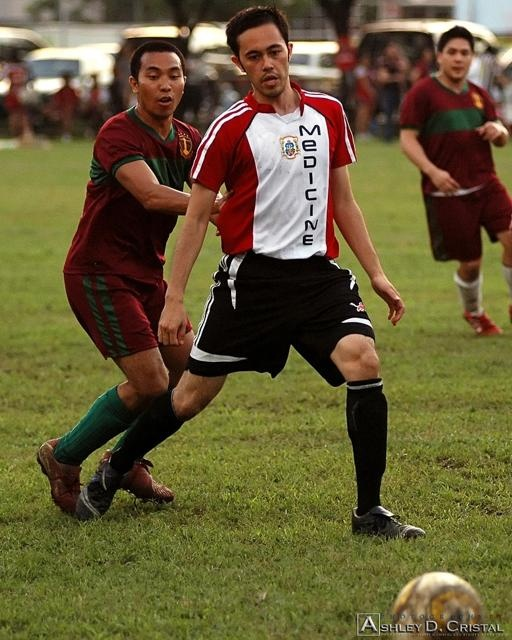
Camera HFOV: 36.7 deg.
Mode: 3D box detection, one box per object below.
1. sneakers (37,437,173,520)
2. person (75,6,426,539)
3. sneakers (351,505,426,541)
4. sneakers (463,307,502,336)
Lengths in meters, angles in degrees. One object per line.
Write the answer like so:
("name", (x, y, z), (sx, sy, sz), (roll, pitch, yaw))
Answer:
("sneakers", (-0.697, 0.698, 3.311), (0.755, 0.286, 0.202), (16, 41, -19))
("person", (-0.005, -0.185, 2.899), (1.186, 1.942, 0.577), (-2, 12, 8))
("sneakers", (0.455, 0.748, 2.843), (0.314, 0.090, 0.093), (0, -2, 14))
("sneakers", (1.931, 0.042, 6.380), (0.381, 0.141, 0.140), (31, 46, 30))
